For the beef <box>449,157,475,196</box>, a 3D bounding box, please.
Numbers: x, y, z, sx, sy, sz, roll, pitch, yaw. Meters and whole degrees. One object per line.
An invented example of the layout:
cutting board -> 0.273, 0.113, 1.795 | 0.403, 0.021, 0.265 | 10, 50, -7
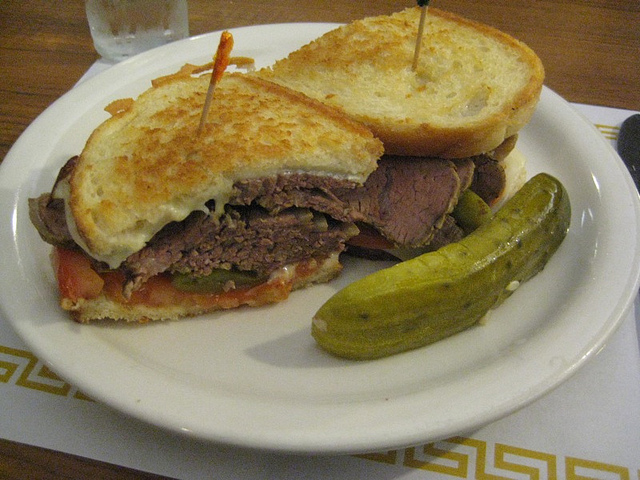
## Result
beef -> 0.606, -0.258, 2.428 | 0.145, 0.040, 0.135 | -4, 66, 10

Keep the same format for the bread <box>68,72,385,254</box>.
bread -> -0.504, -0.512, 2.012 | 1.285, 0.236, 0.679 | -9, 51, -6

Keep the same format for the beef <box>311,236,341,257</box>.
beef -> 0.033, 0.026, 2.305 | 0.096, 0.092, 0.024 | -17, 84, 11

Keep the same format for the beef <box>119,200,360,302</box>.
beef -> -0.316, 0.028, 2.231 | 0.666, 0.172, 0.396 | -8, 35, -24

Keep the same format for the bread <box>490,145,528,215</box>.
bread -> 0.844, -0.267, 2.587 | 0.182, 0.091, 0.298 | 7, 60, 6

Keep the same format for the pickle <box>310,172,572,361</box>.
pickle -> 0.513, 0.098, 2.154 | 1.133, 0.253, 0.349 | -27, 42, -17
